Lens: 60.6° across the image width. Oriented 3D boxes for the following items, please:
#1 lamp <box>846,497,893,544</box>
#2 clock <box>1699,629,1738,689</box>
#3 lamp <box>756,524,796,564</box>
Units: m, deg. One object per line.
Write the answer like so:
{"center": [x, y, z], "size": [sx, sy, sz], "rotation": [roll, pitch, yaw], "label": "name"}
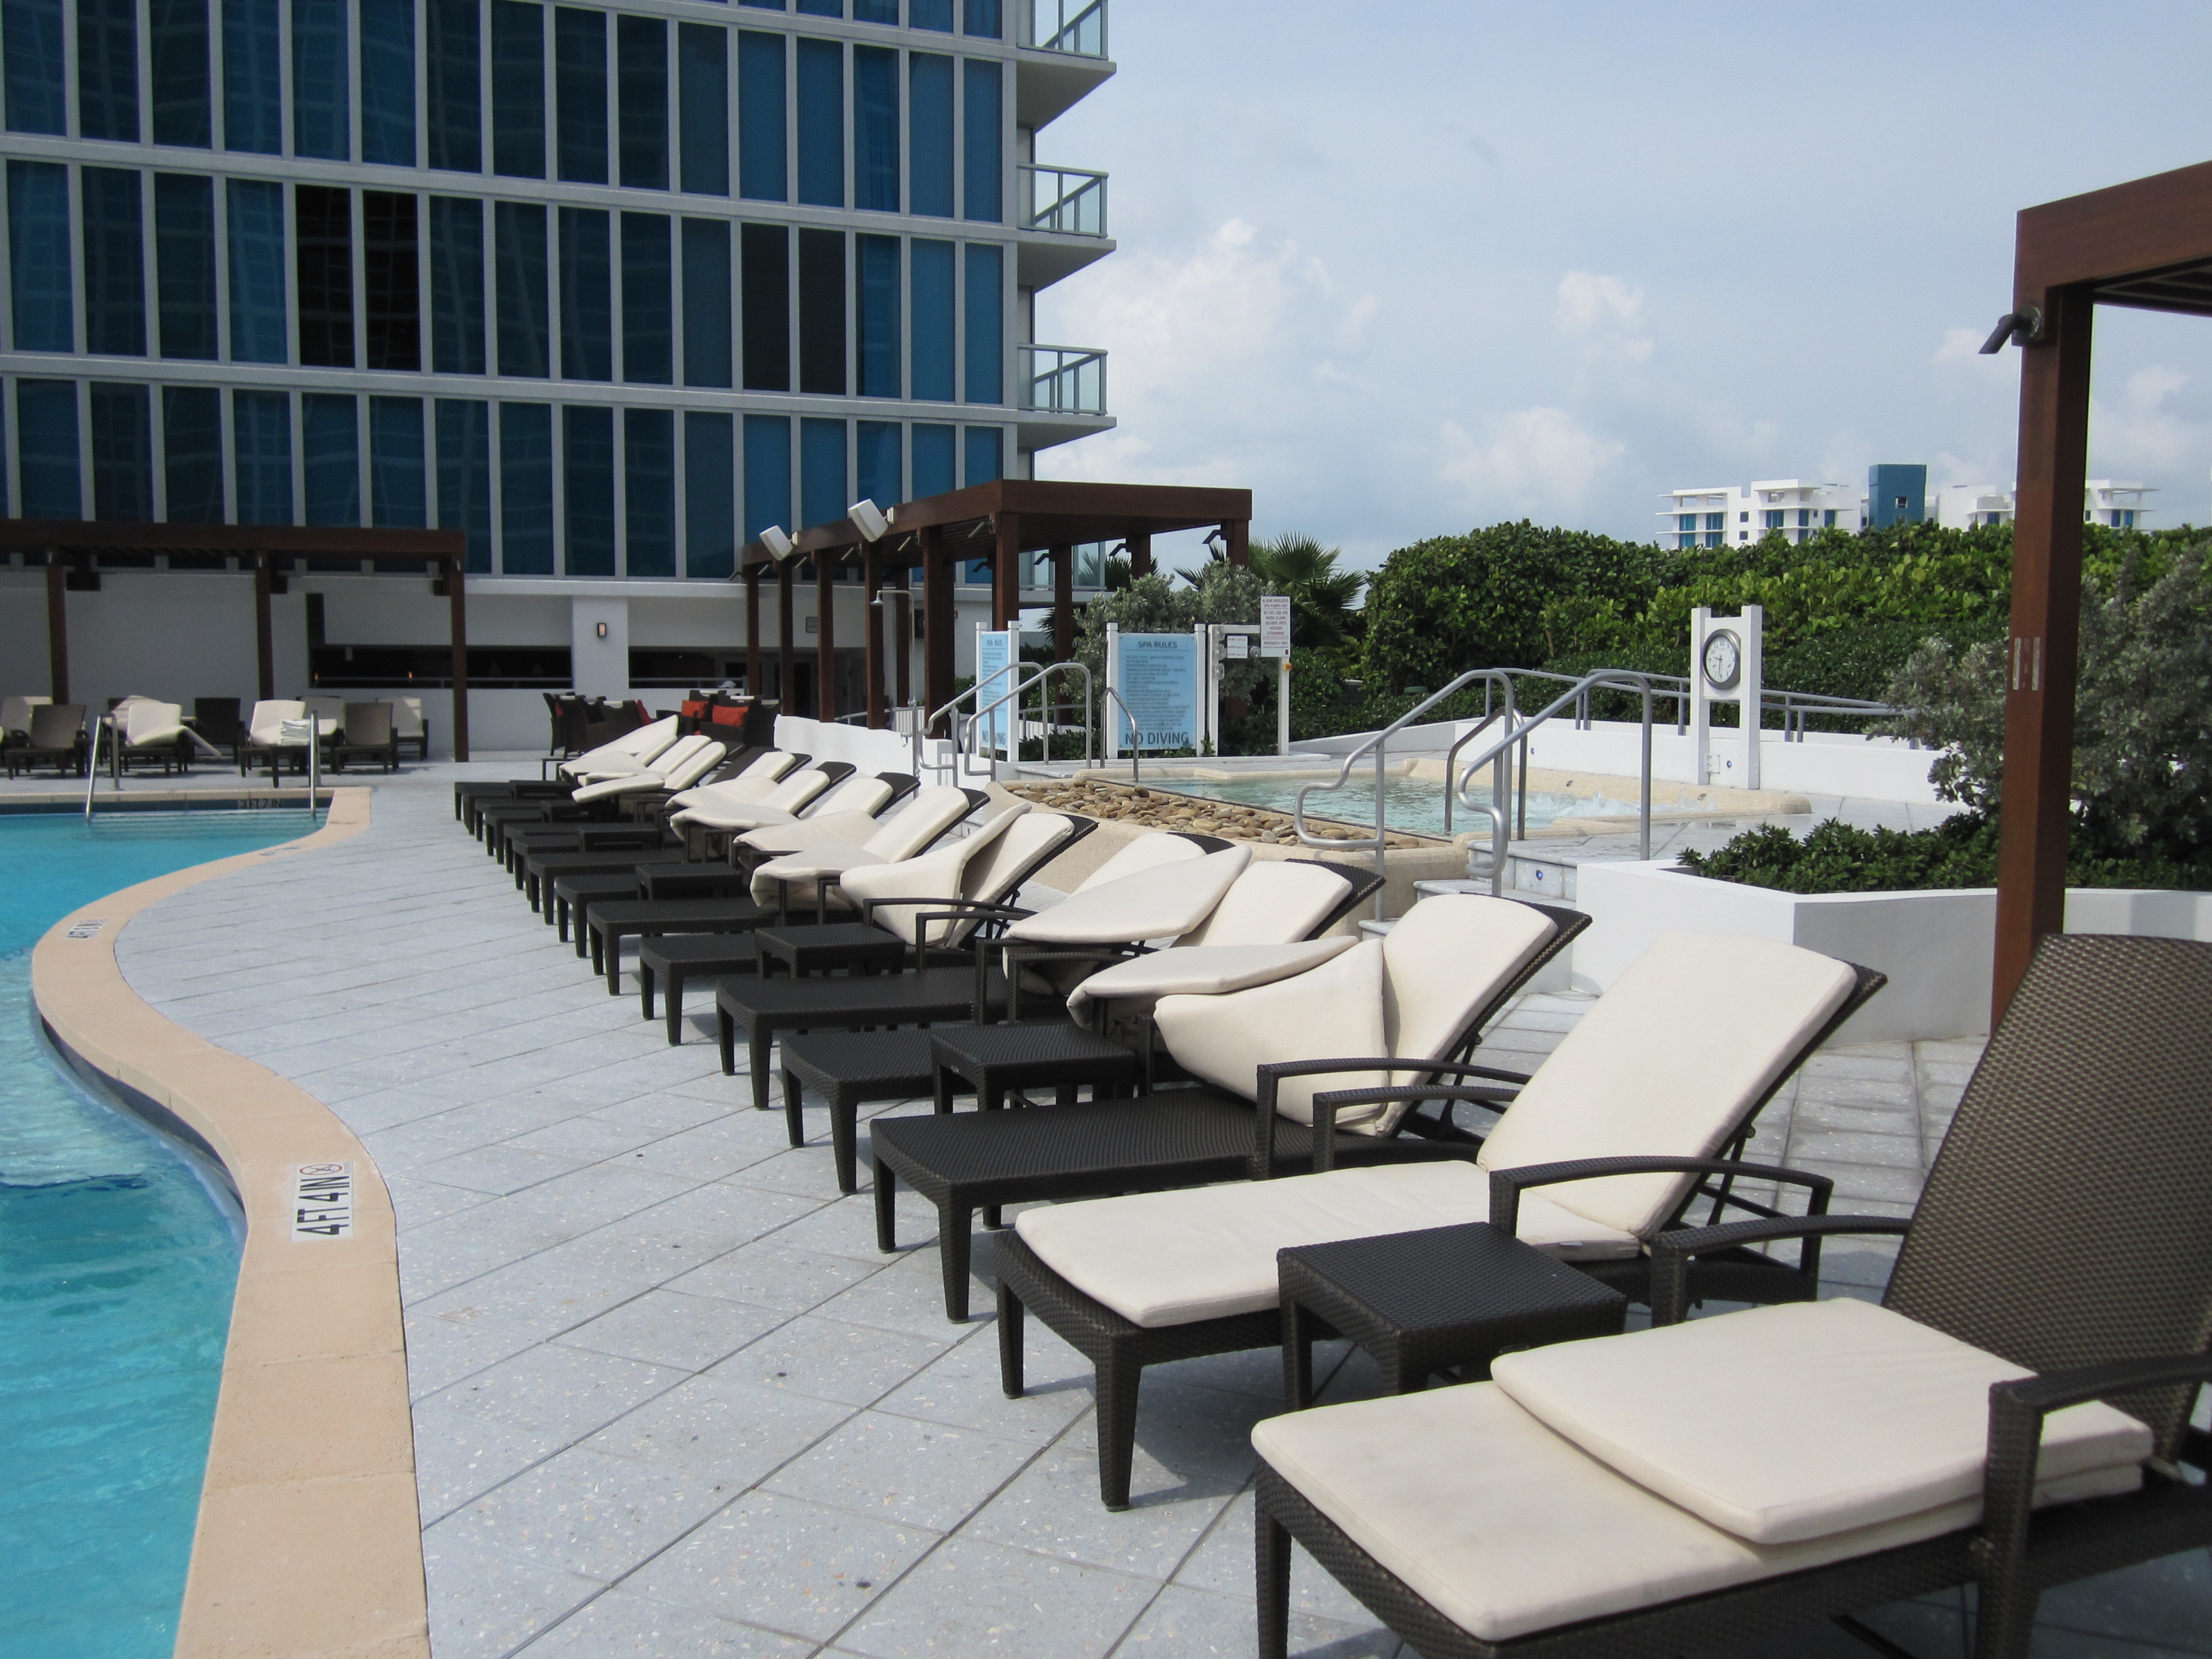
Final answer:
{"center": [-2.913, -3.897, 23.569], "size": [0.497, 0.494, 1.459], "rotation": [-2, 7, -6], "label": "lamp"}
{"center": [5.651, -1.574, 17.319], "size": [0.139, 0.594, 0.517], "rotation": [-3, 7, -11], "label": "clock"}
{"center": [-4.822, -4.243, 27.852], "size": [0.410, 0.516, 1.547], "rotation": [-3, 7, -12], "label": "lamp"}
